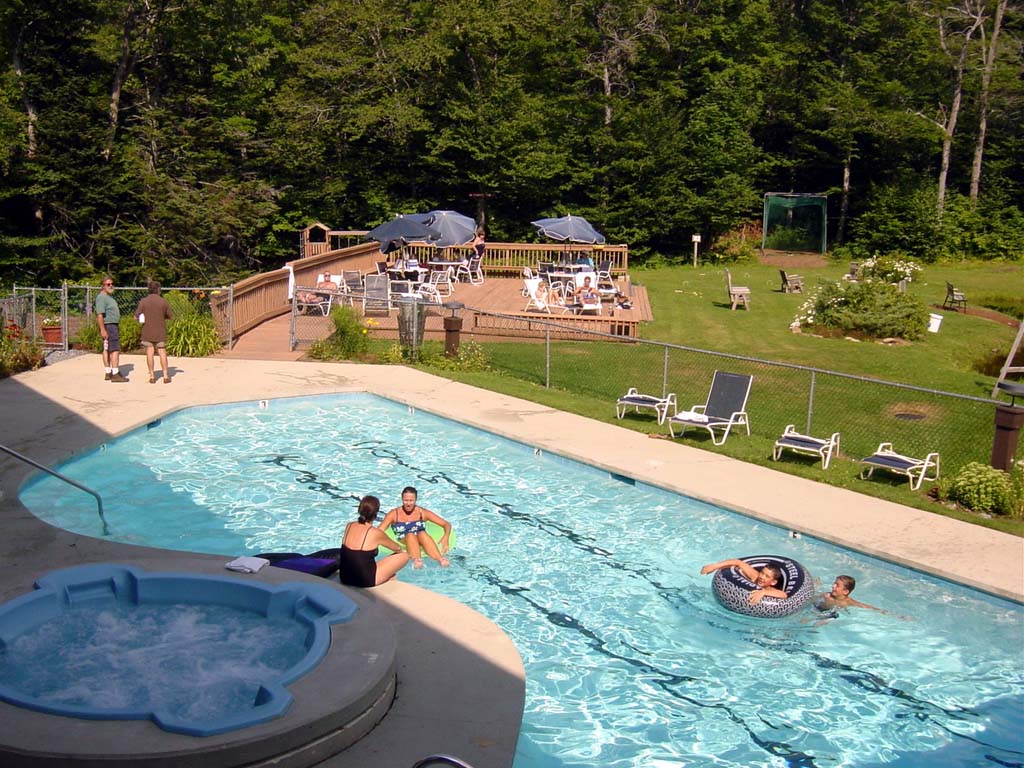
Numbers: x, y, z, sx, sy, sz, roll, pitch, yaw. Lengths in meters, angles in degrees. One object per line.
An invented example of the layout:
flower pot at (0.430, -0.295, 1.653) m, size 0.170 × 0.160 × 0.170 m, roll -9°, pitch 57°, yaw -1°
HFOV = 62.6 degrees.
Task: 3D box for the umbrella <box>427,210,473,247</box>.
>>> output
umbrella at (-2.133, -5.625, 30.243) m, size 1.568 × 1.149 × 1.818 m, roll 1°, pitch 9°, yaw -6°

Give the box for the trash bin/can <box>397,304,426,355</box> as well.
trash bin/can at (-2.655, -1.436, 22.440) m, size 0.626 × 1.548 × 0.615 m, roll 0°, pitch 10°, yaw -12°

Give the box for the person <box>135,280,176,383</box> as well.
person at (-8.163, -1.242, 19.599) m, size 1.094 × 2.492 × 0.885 m, roll -1°, pitch 15°, yaw -33°

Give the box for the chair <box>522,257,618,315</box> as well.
chair at (2.201, -3.010, 29.826) m, size 3.479 × 2.365 × 3.159 m, roll 7°, pitch 13°, yaw 40°

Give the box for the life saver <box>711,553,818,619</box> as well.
life saver at (3.310, 2.632, 10.802) m, size 0.949 × 0.267 × 0.859 m, roll -6°, pitch 20°, yaw -9°

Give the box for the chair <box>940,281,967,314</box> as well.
chair at (17.163, -3.357, 32.611) m, size 0.806 × 1.006 × 2.059 m, roll 6°, pitch 10°, yaw 26°

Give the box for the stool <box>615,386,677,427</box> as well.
stool at (2.975, 0.656, 18.343) m, size 1.309 × 0.612 × 0.928 m, roll 15°, pitch 30°, yaw 37°

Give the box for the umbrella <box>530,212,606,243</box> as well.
umbrella at (2.179, -5.698, 30.780) m, size 2.283 × 0.853 × 1.439 m, roll 6°, pitch 10°, yaw 28°

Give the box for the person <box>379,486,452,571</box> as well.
person at (-1.311, 2.041, 11.726) m, size 1.138 × 0.760 × 1.355 m, roll -7°, pitch 16°, yaw -20°

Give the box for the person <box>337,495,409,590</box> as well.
person at (-1.801, 2.056, 10.968) m, size 0.913 × 0.994 × 0.971 m, roll 6°, pitch 4°, yaw 21°
